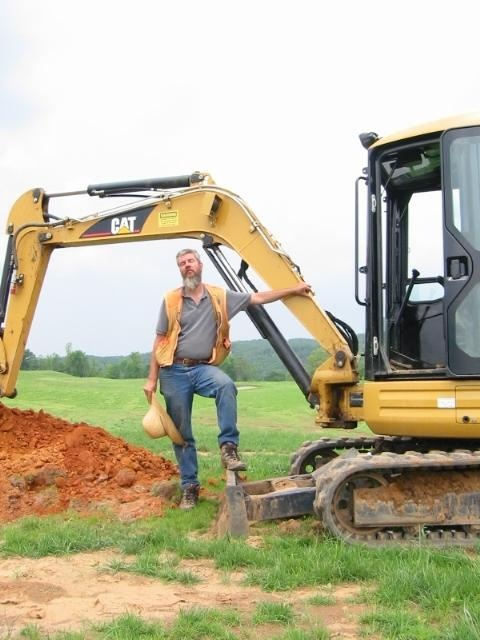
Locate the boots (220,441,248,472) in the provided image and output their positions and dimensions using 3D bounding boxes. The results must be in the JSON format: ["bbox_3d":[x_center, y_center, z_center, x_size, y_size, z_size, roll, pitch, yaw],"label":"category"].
[{"bbox_3d":[-0.072,1.150,4.824,0.215,0.233,0.284,2,-7,-2],"label":"boots"}]

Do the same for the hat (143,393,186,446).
[{"bbox_3d":[-0.670,0.868,5.024,0.394,0.377,0.189,-1,21,16],"label":"hat"}]
